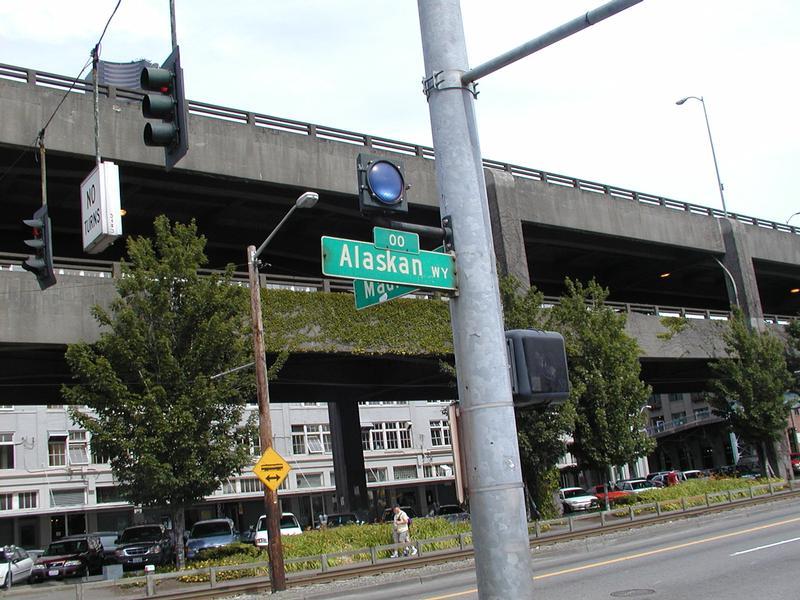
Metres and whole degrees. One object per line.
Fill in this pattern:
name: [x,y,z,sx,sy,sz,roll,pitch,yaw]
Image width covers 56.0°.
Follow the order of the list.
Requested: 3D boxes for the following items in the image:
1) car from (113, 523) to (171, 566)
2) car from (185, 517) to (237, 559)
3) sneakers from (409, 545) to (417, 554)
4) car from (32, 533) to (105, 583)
car: [-11.550,11.070,34.075,2.309,1.879,2.615,-2,-15,-20]
car: [-8.136,10.164,32.370,1.980,1.476,2.701,-3,-15,-17]
sneakers: [0.475,9.471,28.585,0.171,0.273,0.070,-1,-10,-18]
car: [-14.704,11.338,33.159,2.256,1.785,2.388,-7,-14,0]
